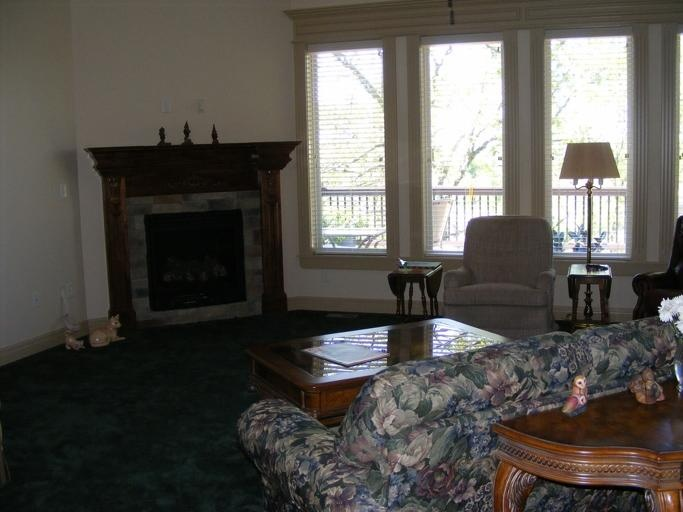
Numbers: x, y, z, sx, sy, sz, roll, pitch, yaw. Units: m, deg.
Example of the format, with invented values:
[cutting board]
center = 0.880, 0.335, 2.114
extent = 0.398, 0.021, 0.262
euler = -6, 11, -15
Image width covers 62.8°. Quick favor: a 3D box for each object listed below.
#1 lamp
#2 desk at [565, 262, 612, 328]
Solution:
[lamp]
center = 2.153, -0.189, 4.912
extent = 0.449, 1.604, 0.929
euler = 3, 11, 25
[desk]
center = 2.045, 0.310, 4.849
extent = 0.421, 0.562, 0.571
euler = -1, -1, 16
